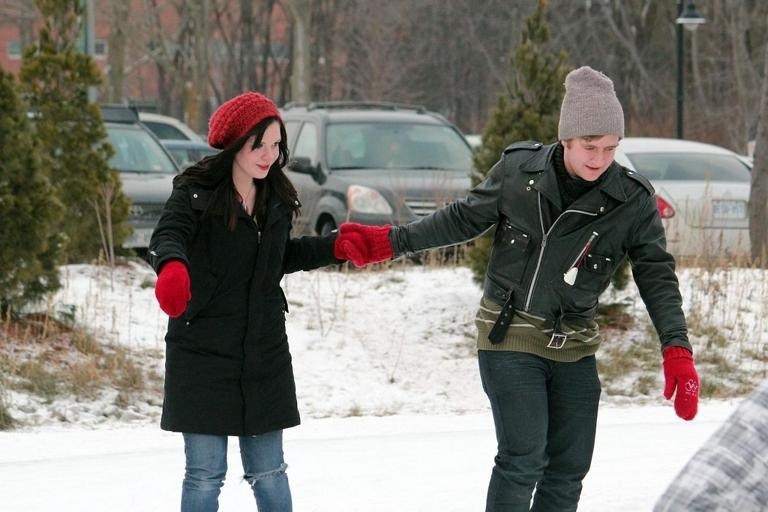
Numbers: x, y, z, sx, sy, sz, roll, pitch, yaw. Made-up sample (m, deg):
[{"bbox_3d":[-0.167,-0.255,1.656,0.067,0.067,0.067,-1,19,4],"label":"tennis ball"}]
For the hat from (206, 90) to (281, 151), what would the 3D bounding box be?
[{"bbox_3d":[-1.161,-1.028,10.587,0.642,0.586,0.568,-2,0,31],"label":"hat"}]

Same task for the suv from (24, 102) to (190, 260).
[{"bbox_3d":[-3.511,-1.162,17.007,1.339,1.660,2.725,-6,22,-19],"label":"suv"}]

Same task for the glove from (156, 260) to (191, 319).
[{"bbox_3d":[-1.700,0.269,10.037,0.288,0.192,0.437,-3,50,-4],"label":"glove"}]

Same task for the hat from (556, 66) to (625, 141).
[{"bbox_3d":[1.720,-1.285,10.427,0.509,0.626,0.571,-11,13,-42],"label":"hat"}]

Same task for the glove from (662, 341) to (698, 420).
[{"bbox_3d":[2.436,1.018,10.470,0.352,0.157,0.634,-41,-22,5],"label":"glove"}]

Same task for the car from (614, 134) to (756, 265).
[{"bbox_3d":[3.847,-0.753,15.726,2.263,1.137,1.284,-5,8,-27],"label":"car"}]

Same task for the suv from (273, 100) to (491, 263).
[{"bbox_3d":[-0.088,-1.169,16.231,1.564,1.511,2.616,-1,1,-26],"label":"suv"}]
